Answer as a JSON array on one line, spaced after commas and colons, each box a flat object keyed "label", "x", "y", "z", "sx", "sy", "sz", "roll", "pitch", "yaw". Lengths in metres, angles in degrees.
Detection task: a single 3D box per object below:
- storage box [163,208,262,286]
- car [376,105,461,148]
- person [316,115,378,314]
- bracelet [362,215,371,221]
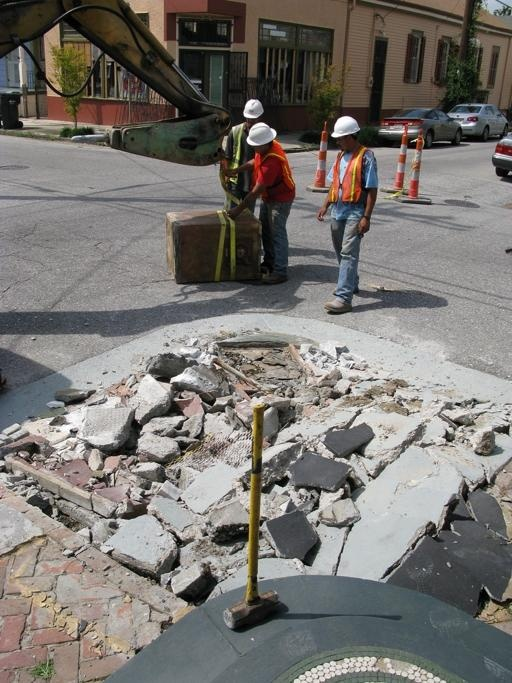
[{"label": "storage box", "x": -0.573, "y": -1.266, "z": 6.724, "sx": 1.089, "sy": 0.690, "sz": 1.045, "roll": -5, "pitch": 21, "yaw": -17}, {"label": "car", "x": 7.251, "y": -9.190, "z": 22.313, "sx": 3.831, "sy": 1.986, "sz": 1.563, "roll": -3, "pitch": 2, "yaw": -37}, {"label": "person", "x": 1.031, "y": -1.442, "z": 5.873, "sx": 0.683, "sy": 2.060, "sz": 0.675, "roll": -6, "pitch": 22, "yaw": -10}, {"label": "bracelet", "x": 1.212, "y": -1.349, "z": 5.580, "sx": 0.066, "sy": 0.065, "sz": 0.062, "roll": 5, "pitch": 10, "yaw": -10}]
